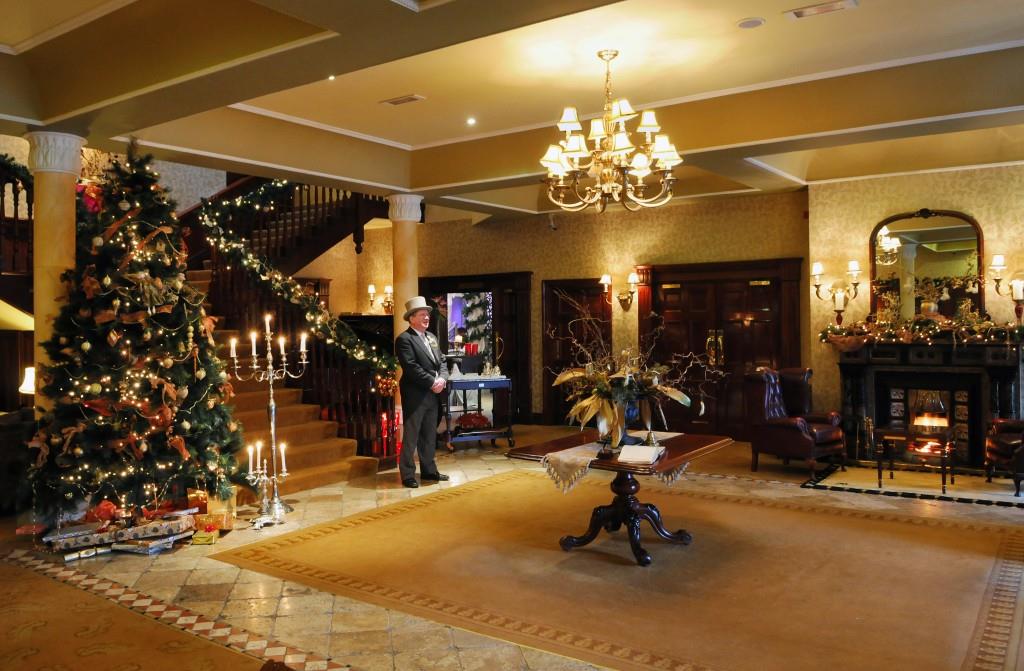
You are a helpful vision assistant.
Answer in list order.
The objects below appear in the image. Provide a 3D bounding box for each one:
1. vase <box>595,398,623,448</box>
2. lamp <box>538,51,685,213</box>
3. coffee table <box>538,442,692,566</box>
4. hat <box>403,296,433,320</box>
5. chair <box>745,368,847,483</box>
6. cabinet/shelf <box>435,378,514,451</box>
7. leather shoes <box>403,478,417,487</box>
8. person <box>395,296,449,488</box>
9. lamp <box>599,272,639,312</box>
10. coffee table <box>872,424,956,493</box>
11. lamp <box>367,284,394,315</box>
[{"bbox_3d":[0.834,0.860,6.333,0.375,0.483,0.354,-2,-19,3],"label":"vase"},{"bbox_3d":[1.017,-2.168,7.304,1.499,1.488,1.372,0,8,14],"label":"lamp"},{"bbox_3d":[0.999,1.611,6.343,1.273,0.808,1.220,-2,-2,28],"label":"coffee table"},{"bbox_3d":[-1.264,-0.392,8.769,0.354,0.180,0.397,-3,-14,-43],"label":"hat"},{"bbox_3d":[3.882,1.201,9.760,1.501,1.637,1.609,-3,-3,36],"label":"chair"},{"bbox_3d":[-0.615,1.275,10.933,1.483,1.151,1.102,1,4,2],"label":"cabinet/shelf"},{"bbox_3d":[-1.256,1.835,8.422,0.197,0.083,0.162,-1,7,-7],"label":"leather shoes"},{"bbox_3d":[-1.148,0.756,8.553,0.625,2.220,0.586,-5,9,-26],"label":"person"},{"bbox_3d":[1.945,-0.785,12.299,0.743,0.564,0.322,-5,-18,36],"label":"lamp"},{"bbox_3d":[5.150,1.526,8.748,0.787,0.691,1.251,-3,-5,34],"label":"coffee table"},{"bbox_3d":[-2.763,-0.738,14.348,0.791,0.649,0.340,-4,-14,19],"label":"lamp"}]
